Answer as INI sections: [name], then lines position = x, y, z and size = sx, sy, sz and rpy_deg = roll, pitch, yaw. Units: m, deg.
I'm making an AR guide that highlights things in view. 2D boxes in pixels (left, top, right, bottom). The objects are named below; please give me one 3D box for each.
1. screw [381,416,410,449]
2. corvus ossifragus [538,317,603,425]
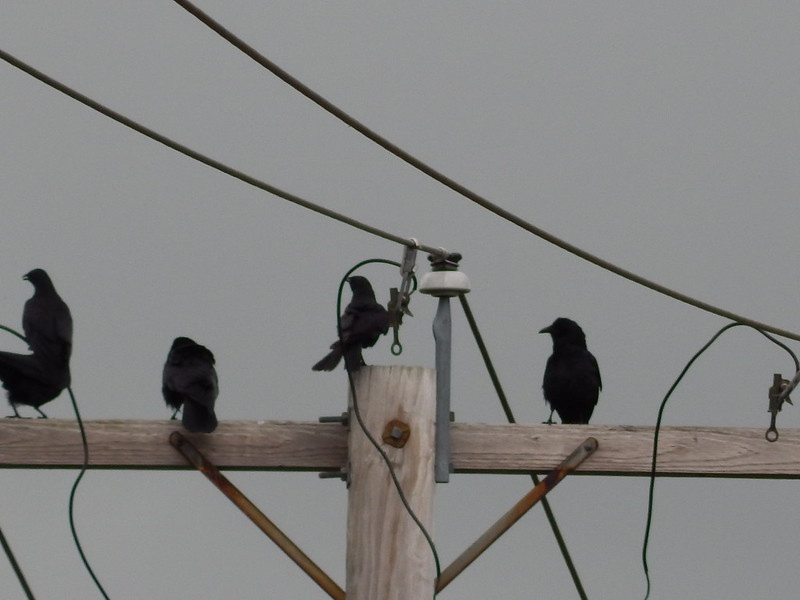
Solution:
[screw]
position = -0.022, 0.620, 9.673
size = 0.125, 0.083, 0.096
rpy_deg = 15, -53, -6
[corvus ossifragus]
position = 0.828, 0.369, 10.572
size = 0.261, 0.556, 0.547
rpy_deg = -4, -38, 12
